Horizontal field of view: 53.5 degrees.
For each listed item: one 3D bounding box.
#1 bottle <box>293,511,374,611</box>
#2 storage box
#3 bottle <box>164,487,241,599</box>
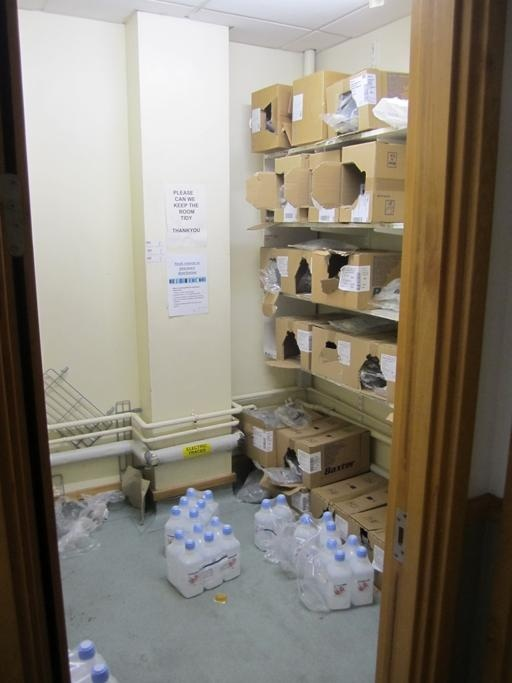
[{"bbox_3d":[0.326,0.905,2.179,0.299,0.326,0.294,0,-2,-26],"label":"bottle"},{"bbox_3d":[0.401,-0.173,2.603,0.656,2.265,1.303,-4,11,-22],"label":"storage box"},{"bbox_3d":[-0.244,0.892,2.213,0.239,0.203,0.421,-4,6,-28],"label":"bottle"}]
